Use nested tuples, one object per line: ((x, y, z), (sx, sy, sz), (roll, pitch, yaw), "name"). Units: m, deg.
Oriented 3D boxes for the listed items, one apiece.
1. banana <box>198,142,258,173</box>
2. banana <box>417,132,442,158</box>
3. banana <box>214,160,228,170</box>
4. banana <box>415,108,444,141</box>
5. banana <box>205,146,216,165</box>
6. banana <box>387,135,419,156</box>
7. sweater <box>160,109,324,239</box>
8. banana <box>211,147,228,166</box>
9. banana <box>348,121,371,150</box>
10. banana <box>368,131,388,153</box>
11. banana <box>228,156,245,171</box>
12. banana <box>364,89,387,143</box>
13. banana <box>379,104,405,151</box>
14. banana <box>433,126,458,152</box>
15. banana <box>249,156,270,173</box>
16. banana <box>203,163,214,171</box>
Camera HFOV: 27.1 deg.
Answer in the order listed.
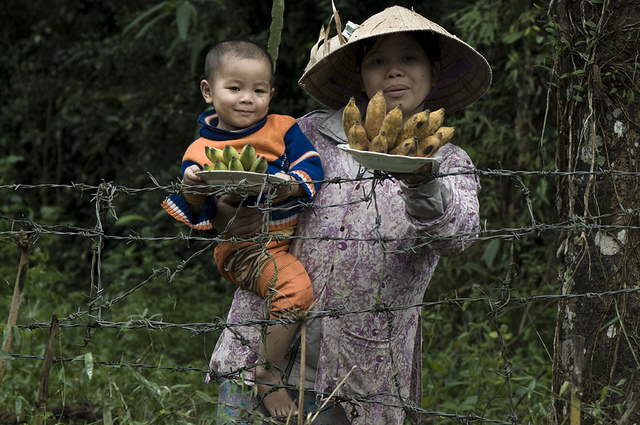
((-0.532, -0.304, 7.367), (0.210, 0.138, 0.216), (-12, -16, -35), "banana")
((0.582, -0.375, 7.077), (0.129, 0.148, 0.058), (2, -4, 6), "banana")
((-0.551, -0.269, 7.315), (0.073, 0.053, 0.124), (3, -4, -5), "banana")
((0.582, -0.480, 7.112), (0.053, 0.191, 0.066), (44, 3, -42), "banana")
((-0.621, -0.347, 7.409), (0.046, 0.141, 0.038), (-5, 34, 1), "banana")
((0.438, -0.358, 7.102), (0.054, 0.072, 0.196), (31, -33, -14), "banana")
((-0.432, -0.236, 7.567), (0.887, 0.762, 0.371), (3, -4, 0), "sweater")
((-0.572, -0.329, 7.429), (0.039, 0.054, 0.150), (-17, -26, 1), "banana")
((0.208, -0.424, 7.133), (0.092, 0.144, 0.081), (18, 37, 30), "banana")
((0.320, -0.400, 7.089), (0.092, 0.167, 0.115), (8, 9, 16), "banana")
((-0.470, -0.274, 7.270), (0.056, 0.037, 0.110), (2, -48, 8), "banana")
((0.294, -0.540, 7.207), (0.083, 0.303, 0.092), (11, -3, 6), "banana")
((0.383, -0.470, 7.111), (0.092, 0.309, 0.097), (20, 14, 0), "banana")
((0.688, -0.422, 7.193), (0.092, 0.170, 0.056), (36, -7, 43), "banana")
((-0.338, -0.271, 7.347), (0.089, 0.047, 0.134), (-37, 7, -10), "banana")
((-0.618, -0.261, 7.300), (0.043, 0.027, 0.022), (4, -35, 5), "banana")
